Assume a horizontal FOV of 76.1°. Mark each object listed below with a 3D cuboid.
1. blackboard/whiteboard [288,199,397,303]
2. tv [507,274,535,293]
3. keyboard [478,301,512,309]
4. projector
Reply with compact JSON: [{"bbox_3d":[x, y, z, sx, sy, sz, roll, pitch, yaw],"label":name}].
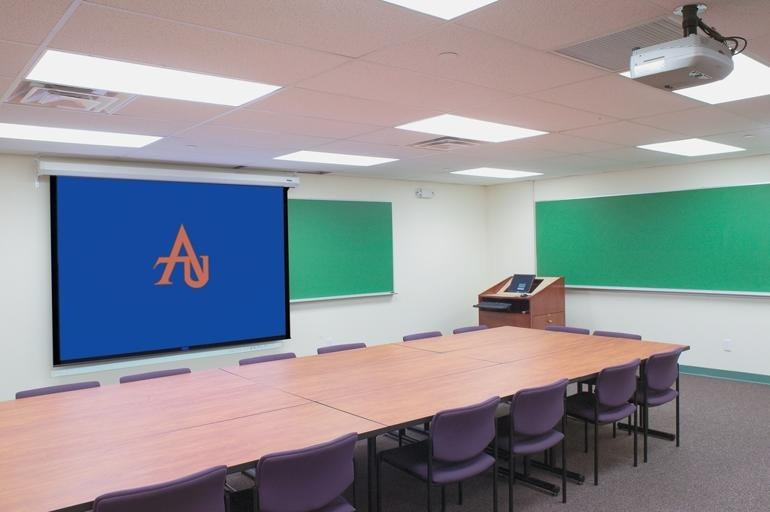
[{"bbox_3d":[-0.804,-0.125,8.253,1.745,1.633,0.409,-4,7,-24],"label":"blackboard/whiteboard"},{"bbox_3d":[2.358,0.490,8.705,0.498,0.308,0.374,2,6,30],"label":"tv"},{"bbox_3d":[1.904,0.866,8.568,0.547,0.127,0.213,3,7,44],"label":"keyboard"},{"bbox_3d":[1.922,-1.262,3.217,0.497,0.258,0.358,3,7,42],"label":"projector"}]
